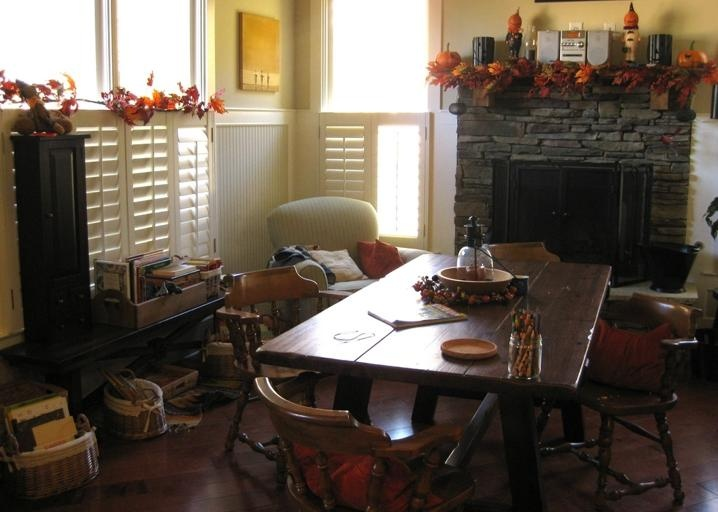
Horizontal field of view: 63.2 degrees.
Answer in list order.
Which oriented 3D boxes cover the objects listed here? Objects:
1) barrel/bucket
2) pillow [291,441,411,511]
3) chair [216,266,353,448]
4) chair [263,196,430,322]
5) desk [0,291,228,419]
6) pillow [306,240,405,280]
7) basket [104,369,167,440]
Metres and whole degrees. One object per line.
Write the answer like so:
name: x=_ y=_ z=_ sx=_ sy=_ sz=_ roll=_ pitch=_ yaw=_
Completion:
barrel/bucket: x=2.359 y=0.051 z=4.509 sx=0.401 sy=0.359 sz=0.449 roll=-1 pitch=7 yaw=4
pillow: x=-0.022 y=0.756 z=1.960 sx=0.253 sy=0.099 sz=0.297 roll=4 pitch=8 yaw=21
chair: x=-0.368 y=0.570 z=3.194 sx=0.645 sy=0.891 sz=0.843 roll=5 pitch=11 yaw=43
chair: x=-0.123 y=0.140 z=4.700 sx=1.161 sy=1.079 sz=1.186 roll=11 pitch=18 yaw=28
desk: x=-1.444 y=0.570 z=3.473 sx=0.429 sy=0.421 sz=1.102 roll=6 pitch=16 yaw=29
pillow: x=-0.030 y=0.038 z=4.694 sx=0.494 sy=0.171 sz=0.409 roll=-4 pitch=26 yaw=-38
basket: x=-1.323 y=0.834 z=3.400 sx=0.406 sy=0.344 sz=0.338 roll=6 pitch=8 yaw=12
